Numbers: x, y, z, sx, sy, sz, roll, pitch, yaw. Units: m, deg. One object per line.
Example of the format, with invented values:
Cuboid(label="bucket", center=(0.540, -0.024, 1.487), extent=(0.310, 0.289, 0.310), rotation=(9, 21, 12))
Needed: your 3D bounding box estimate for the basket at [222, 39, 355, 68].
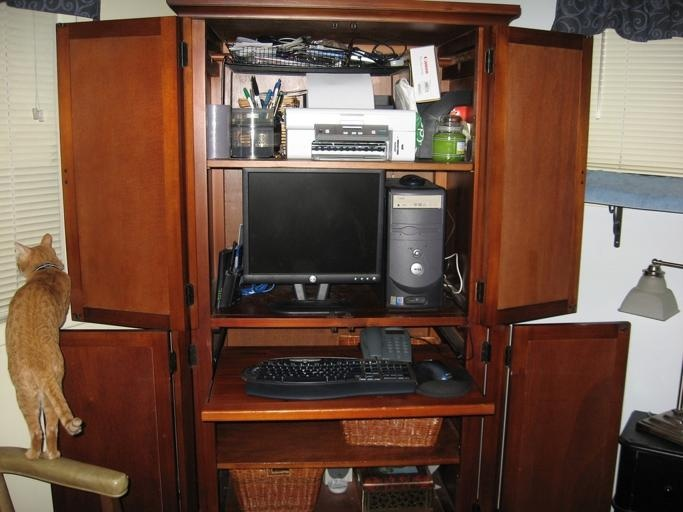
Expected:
Cuboid(label="basket", center=(-0.203, -0.776, 2.314), extent=(0.341, 0.060, 0.177), rotation=(2, 24, -5))

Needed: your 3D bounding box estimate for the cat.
Cuboid(label="cat", center=(-1.096, 0.347, 2.217), extent=(0.216, 0.869, 0.473), rotation=(1, -29, -30))

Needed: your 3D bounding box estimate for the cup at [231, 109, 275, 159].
Cuboid(label="cup", center=(-0.311, -0.480, 2.362), extent=(0.202, 0.191, 0.153), rotation=(5, 11, 22))

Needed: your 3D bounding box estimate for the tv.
Cuboid(label="tv", center=(-0.112, -0.082, 2.401), extent=(0.597, 0.565, 0.198), rotation=(0, 8, -2))

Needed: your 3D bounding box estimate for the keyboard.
Cuboid(label="keyboard", center=(-0.046, 0.465, 2.301), extent=(0.653, 0.090, 0.210), rotation=(-2, 12, -4))
